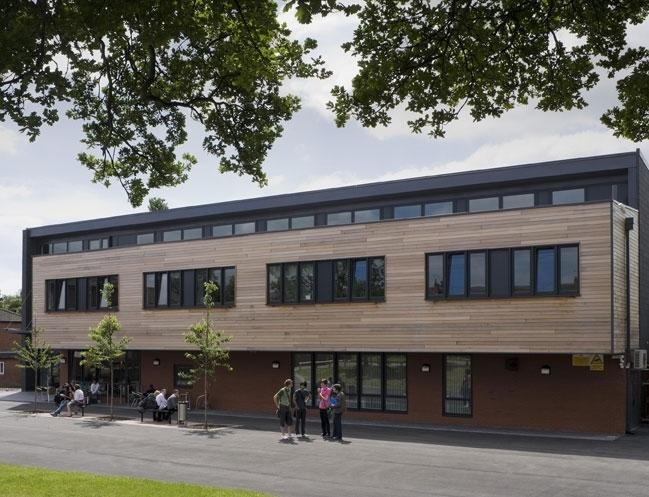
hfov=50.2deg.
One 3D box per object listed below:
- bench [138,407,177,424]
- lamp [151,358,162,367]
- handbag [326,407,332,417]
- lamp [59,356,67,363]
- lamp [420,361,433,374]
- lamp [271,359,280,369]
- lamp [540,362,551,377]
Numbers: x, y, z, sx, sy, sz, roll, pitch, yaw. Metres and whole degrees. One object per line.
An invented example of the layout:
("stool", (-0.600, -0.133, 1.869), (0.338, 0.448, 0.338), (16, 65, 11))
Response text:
("bench", (-6.902, 6.898, 28.739), (1.480, 0.640, 3.018), (3, -14, -13))
("lamp", (-8.060, 5.470, 33.574), (0.504, 0.369, 0.498), (-1, 5, 32))
("handbag", (0.182, 5.464, 23.309), (0.168, 0.270, 0.585), (3, -14, -14))
("lamp", (-13.923, 5.891, 36.921), (0.379, 0.429, 0.286), (-5, -13, 21))
("lamp", (3.878, 4.580, 26.641), (0.586, 0.597, 0.315), (-6, -14, 35))
("lamp", (-2.061, 4.897, 29.791), (0.477, 0.453, 0.275), (-3, -7, 37))
("lamp", (7.804, 4.235, 24.478), (0.322, 0.618, 0.441), (15, -17, -39))
